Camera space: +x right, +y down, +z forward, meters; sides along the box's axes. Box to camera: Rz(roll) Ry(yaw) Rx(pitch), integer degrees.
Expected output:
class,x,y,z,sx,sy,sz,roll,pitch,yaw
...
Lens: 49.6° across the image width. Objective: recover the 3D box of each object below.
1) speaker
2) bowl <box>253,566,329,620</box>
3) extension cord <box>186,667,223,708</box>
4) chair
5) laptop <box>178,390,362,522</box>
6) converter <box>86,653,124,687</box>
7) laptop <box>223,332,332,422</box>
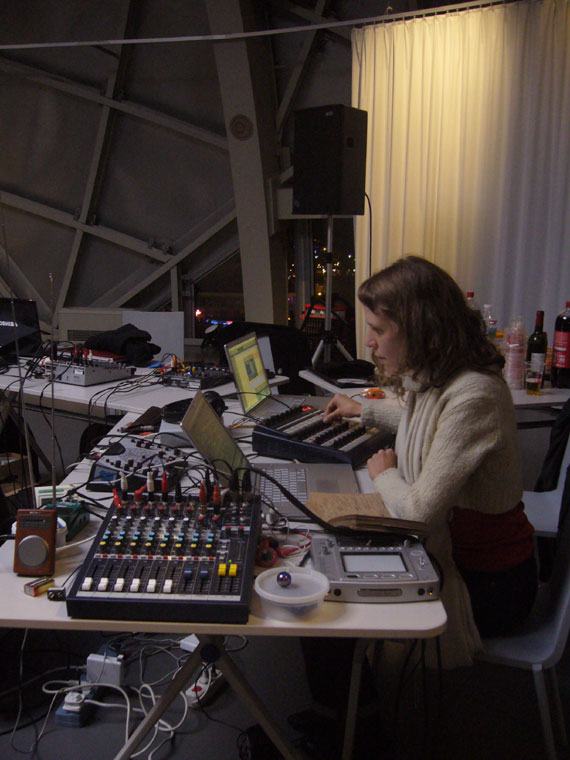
class,x,y,z,sx,sy,sz,roll,pitch,yaw
speaker,0.266,-1.347,3.870,0.443,0.645,0.365,1,12,33
bowl,0.015,0.368,1.063,0.129,0.060,0.123,-5,9,1
extension cord,-0.234,0.909,1.875,0.055,0.071,0.183,8,16,15
chair,-0.118,-0.215,3.821,0.498,0.466,0.686,-1,10,32
laptop,-0.043,0.173,1.526,0.354,0.219,0.329,3,20,9
converter,-0.530,0.855,1.815,0.090,0.079,0.050,5,15,7
laptop,-0.044,-0.002,2.327,0.294,0.265,0.400,3,19,9
